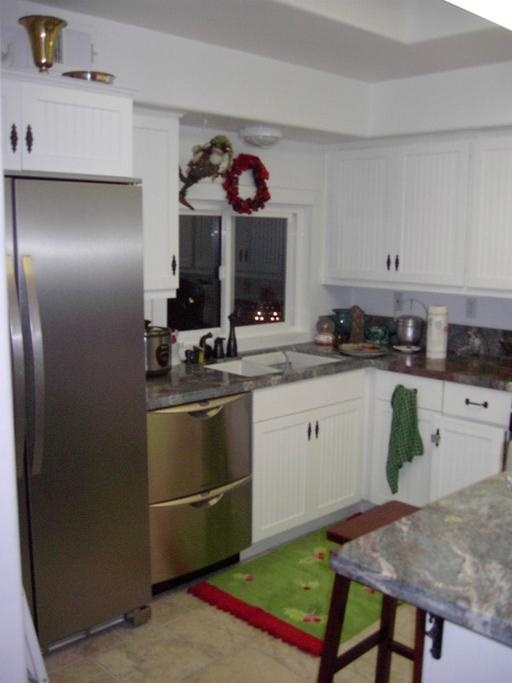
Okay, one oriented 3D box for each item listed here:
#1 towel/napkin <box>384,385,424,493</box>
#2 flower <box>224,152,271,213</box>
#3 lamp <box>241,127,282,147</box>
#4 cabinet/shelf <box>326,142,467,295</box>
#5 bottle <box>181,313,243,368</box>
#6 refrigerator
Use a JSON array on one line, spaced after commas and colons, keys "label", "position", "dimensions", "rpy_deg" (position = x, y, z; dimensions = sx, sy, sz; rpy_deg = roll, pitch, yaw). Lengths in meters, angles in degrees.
[{"label": "towel/napkin", "position": [0.879, 0.615, 3.397], "dimensions": [0.164, 0.663, 0.200], "rpy_deg": [4, 13, -4]}, {"label": "flower", "position": [-0.055, -0.996, 3.530], "dimensions": [0.218, 0.364, 0.458], "rpy_deg": [3, 7, 20]}, {"label": "lamp", "position": [0.025, -1.239, 3.332], "dimensions": [0.243, 0.096, 0.157], "rpy_deg": [1, 7, -4]}, {"label": "cabinet/shelf", "position": [0.951, -0.837, 3.660], "dimensions": [0.984, 0.886, 0.392], "rpy_deg": [7, 9, 43]}, {"label": "bottle", "position": [-0.267, -0.023, 3.406], "dimensions": [0.261, 0.289, 0.523], "rpy_deg": [3, 7, 16]}, {"label": "refrigerator", "position": [-0.720, 0.280, 2.317], "dimensions": [0.581, 1.720, 0.498], "rpy_deg": [1, 1, -20]}]
